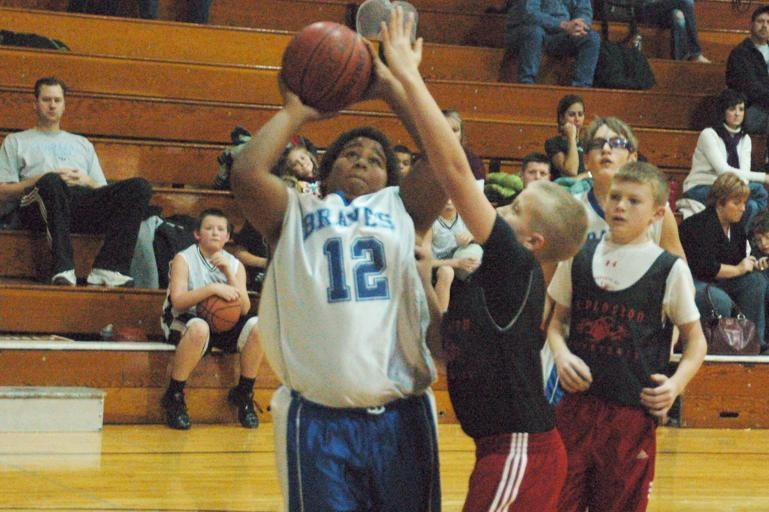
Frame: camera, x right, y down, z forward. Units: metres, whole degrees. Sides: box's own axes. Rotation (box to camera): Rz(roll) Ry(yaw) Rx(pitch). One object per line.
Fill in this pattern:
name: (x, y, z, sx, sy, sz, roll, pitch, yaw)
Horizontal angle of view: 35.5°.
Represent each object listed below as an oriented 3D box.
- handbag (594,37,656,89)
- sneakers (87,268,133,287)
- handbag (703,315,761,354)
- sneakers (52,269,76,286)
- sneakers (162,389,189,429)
handbag: (2.252, -1.721, 11.465, 0.712, 0.541, 0.423, 1, -6, -13)
sneakers: (-2.076, 0.165, 9.077, 0.325, 0.163, 0.128, 2, 2, -8)
handbag: (2.636, 0.625, 9.062, 0.361, 0.360, 0.281, 1, -5, -25)
sneakers: (-2.410, 0.162, 9.010, 0.175, 0.121, 0.144, 1, 4, -22)
sneakers: (-1.493, 1.099, 8.557, 0.122, 0.142, 0.329, 1, 29, -34)
